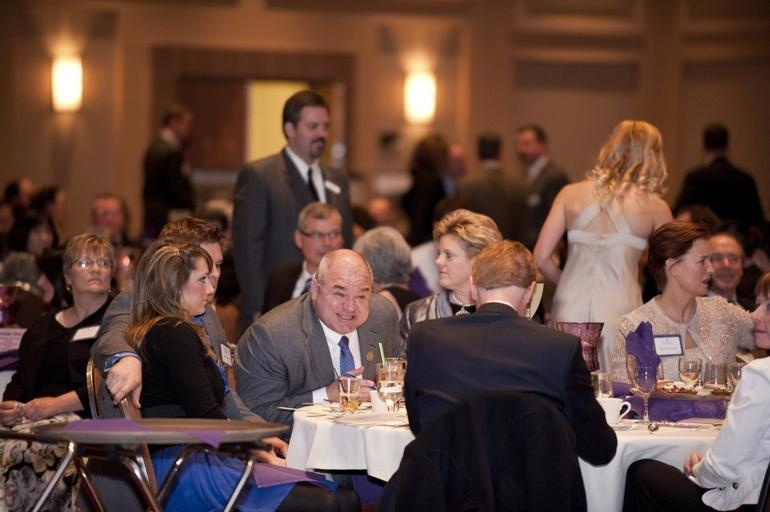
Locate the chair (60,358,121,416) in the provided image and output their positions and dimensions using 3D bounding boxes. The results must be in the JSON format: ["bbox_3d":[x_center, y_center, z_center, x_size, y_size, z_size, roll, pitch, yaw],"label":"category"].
[{"bbox_3d":[-1.491,0.679,4.083,0.209,0.271,0.196,-18,44,-22],"label":"chair"}]

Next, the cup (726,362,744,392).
[{"bbox_3d":[1.757,0.613,4.078,0.067,0.114,0.355,1,1,25],"label":"cup"}]

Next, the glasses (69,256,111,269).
[{"bbox_3d":[-1.669,0.047,4.568,0.205,0.060,0.045,-1,2,-22],"label":"glasses"}]

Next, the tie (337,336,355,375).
[{"bbox_3d":[-0.216,0.552,4.394,0.086,0.208,0.201,-1,2,-4],"label":"tie"}]

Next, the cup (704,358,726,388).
[{"bbox_3d":[1.658,0.609,4.117,0.119,0.124,0.120,1,-2,0],"label":"cup"}]

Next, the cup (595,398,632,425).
[{"bbox_3d":[1.100,0.739,3.861,0.202,0.151,0.141,1,-6,-1],"label":"cup"}]

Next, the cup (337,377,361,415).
[{"bbox_3d":[-0.195,0.715,4.048,0.147,0.225,0.142,0,-5,0],"label":"cup"}]

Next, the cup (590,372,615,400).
[{"bbox_3d":[1.039,0.631,3.888,0.120,0.122,0.123,-2,0,0],"label":"cup"}]

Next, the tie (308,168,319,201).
[{"bbox_3d":[-0.506,-0.489,5.638,0.039,0.291,0.035,-9,-3,6],"label":"tie"}]

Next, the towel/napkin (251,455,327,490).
[{"bbox_3d":[-0.476,1.050,3.823,0.202,0.056,0.198,16,-7,-43],"label":"towel/napkin"}]

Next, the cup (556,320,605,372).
[{"bbox_3d":[0.974,0.445,3.985,0.253,0.267,0.242,0,-1,0],"label":"cup"}]
